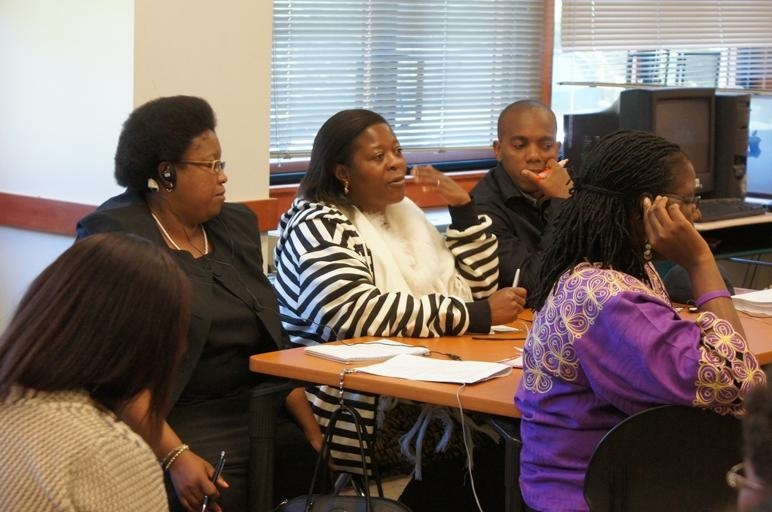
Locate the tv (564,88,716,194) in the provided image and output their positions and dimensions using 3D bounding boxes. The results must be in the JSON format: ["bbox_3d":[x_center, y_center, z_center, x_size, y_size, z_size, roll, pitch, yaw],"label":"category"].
[{"bbox_3d":[1.772,-0.793,4.505,0.546,0.712,0.745,-8,14,-20],"label":"tv"}]

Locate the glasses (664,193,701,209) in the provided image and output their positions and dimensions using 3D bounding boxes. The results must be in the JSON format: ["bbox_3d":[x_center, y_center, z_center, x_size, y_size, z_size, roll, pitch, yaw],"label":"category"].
[{"bbox_3d":[0.815,-0.154,1.775,0.096,0.028,0.092,9,4,13],"label":"glasses"}]

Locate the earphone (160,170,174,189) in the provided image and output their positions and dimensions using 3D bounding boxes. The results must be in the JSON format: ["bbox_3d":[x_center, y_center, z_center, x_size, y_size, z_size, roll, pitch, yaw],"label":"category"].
[{"bbox_3d":[-0.754,-0.268,2.265,0.042,0.055,0.021,0,5,-1],"label":"earphone"}]

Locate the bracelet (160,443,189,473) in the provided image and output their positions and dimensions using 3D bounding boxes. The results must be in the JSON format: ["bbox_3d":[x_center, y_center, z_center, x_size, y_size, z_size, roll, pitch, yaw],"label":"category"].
[{"bbox_3d":[-0.652,0.614,1.992,0.079,0.026,0.076,-40,1,-1],"label":"bracelet"}]
